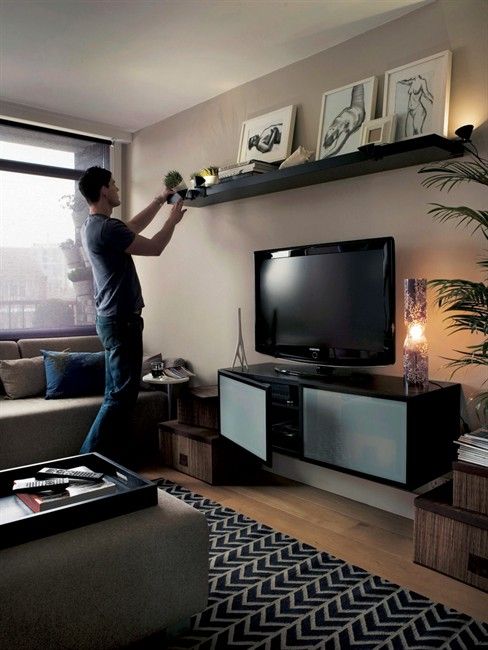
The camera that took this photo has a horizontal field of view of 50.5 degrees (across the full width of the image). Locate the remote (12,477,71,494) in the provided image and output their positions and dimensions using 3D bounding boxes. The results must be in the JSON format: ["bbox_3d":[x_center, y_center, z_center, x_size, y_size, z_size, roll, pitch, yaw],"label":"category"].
[{"bbox_3d":[-0.588,0.458,1.478,0.131,0.028,0.071,3,-2,-42],"label":"remote"}]

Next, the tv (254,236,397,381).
[{"bbox_3d":[0.376,-0.098,2.607,0.089,0.612,0.905,-2,3,-43],"label":"tv"}]

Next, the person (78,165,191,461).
[{"bbox_3d":[-0.661,-0.041,2.927,0.591,1.631,0.656,-1,1,8],"label":"person"}]

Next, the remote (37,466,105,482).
[{"bbox_3d":[-0.526,0.458,1.582,0.255,0.027,0.066,2,0,-11],"label":"remote"}]

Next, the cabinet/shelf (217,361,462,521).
[{"bbox_3d":[0.344,0.534,2.482,0.537,0.528,1.147,-4,4,-43],"label":"cabinet/shelf"}]

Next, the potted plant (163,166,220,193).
[{"bbox_3d":[-0.314,-0.906,3.247,0.270,0.143,0.197,-4,3,33],"label":"potted plant"}]

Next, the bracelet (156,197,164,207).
[{"bbox_3d":[-0.554,-0.808,3.398,0.013,0.051,0.050,-38,-24,-12],"label":"bracelet"}]

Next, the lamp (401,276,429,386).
[{"bbox_3d":[0.708,0.033,2.145,0.088,0.440,0.079,-1,1,17],"label":"lamp"}]

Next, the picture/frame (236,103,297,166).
[{"bbox_3d":[0.139,-1.091,3.073,0.052,0.315,0.437,6,3,-40],"label":"picture/frame"}]

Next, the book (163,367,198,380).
[{"bbox_3d":[-0.419,0.318,3.353,0.124,0.032,0.120,6,3,15],"label":"book"}]
